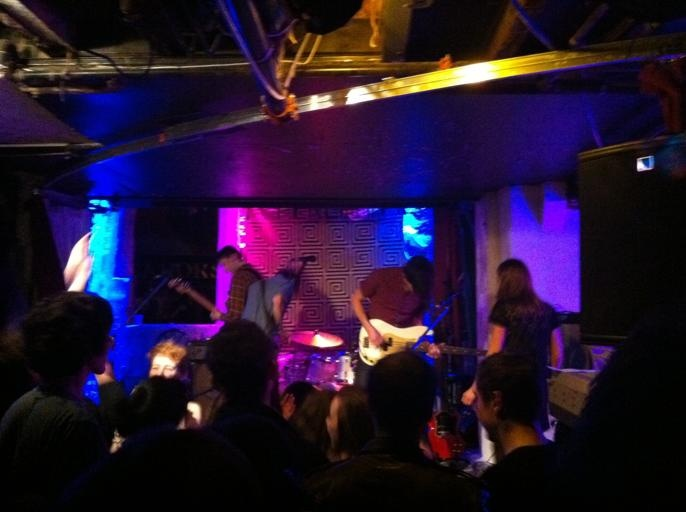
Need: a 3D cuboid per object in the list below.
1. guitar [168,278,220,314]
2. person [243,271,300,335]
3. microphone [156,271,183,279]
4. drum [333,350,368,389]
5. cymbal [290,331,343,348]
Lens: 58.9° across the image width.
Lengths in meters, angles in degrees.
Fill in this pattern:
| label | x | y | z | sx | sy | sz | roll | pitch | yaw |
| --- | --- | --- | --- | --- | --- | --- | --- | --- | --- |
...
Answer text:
| label | x | y | z | sx | sy | sz | roll | pitch | yaw |
| --- | --- | --- | --- | --- | --- | --- | --- | --- | --- |
| guitar | -1.841 | 0.500 | 7.401 | 0.092 | 0.113 | 0.737 | -15 | -37 | 31 |
| person | -0.897 | 0.426 | 6.399 | 0.556 | 0.292 | 0.849 | 14 | -44 | -7 |
| microphone | -2.169 | 0.237 | 7.467 | 0.144 | 0.034 | 0.129 | -13 | 22 | -26 |
| drum | 0.091 | 1.238 | 6.509 | 0.319 | 0.422 | 0.308 | 1 | -13 | 0 |
| cymbal | -0.311 | 0.914 | 6.669 | 0.314 | 0.074 | 0.314 | 4 | 4 | 25 |
